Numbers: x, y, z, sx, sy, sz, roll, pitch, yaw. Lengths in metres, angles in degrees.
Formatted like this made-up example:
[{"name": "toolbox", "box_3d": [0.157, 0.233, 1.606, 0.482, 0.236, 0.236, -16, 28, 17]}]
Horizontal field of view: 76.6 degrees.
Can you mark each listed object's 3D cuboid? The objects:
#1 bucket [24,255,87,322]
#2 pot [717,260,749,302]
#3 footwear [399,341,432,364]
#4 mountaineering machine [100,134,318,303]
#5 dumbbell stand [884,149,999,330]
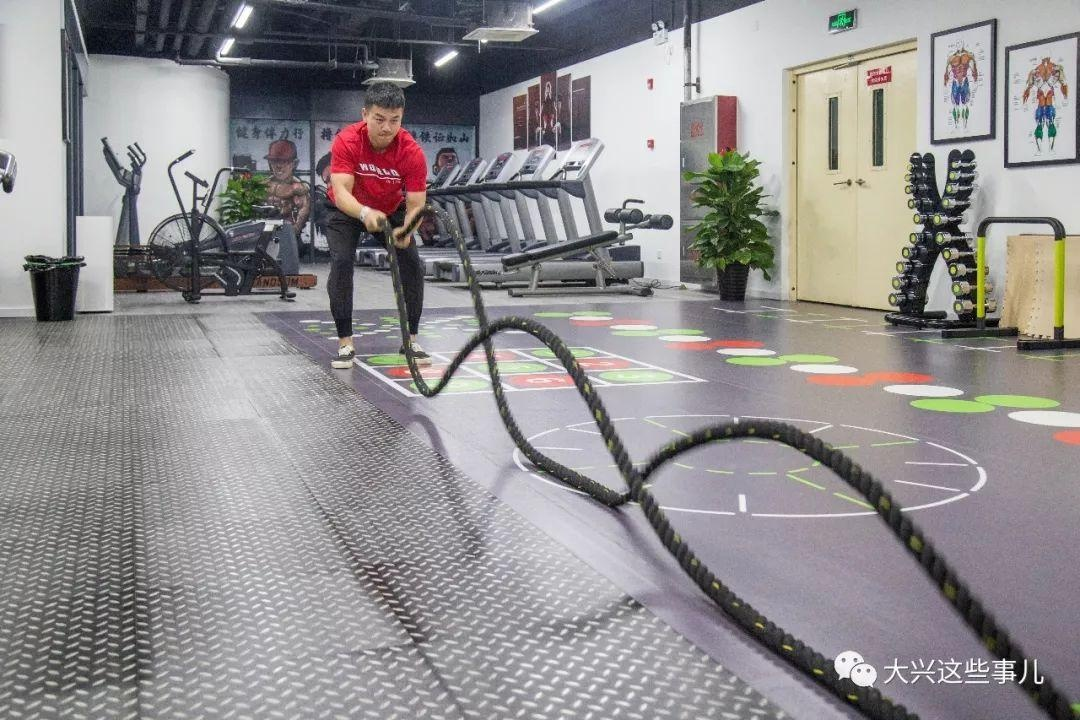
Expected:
[{"name": "bucket", "box_3d": [-4.800, -0.701, 6.867, 0.639, 0.659, 0.639, -1, 3, 0]}, {"name": "pot", "box_3d": [2.360, -0.962, 8.374, 0.442, 0.428, 0.460, 0, 0, 0]}, {"name": "footwear", "box_3d": [-0.762, -0.053, 4.338, 0.329, 0.134, 0.120, 7, 7, 43]}, {"name": "mountaineering machine", "box_3d": [-4.903, -2.038, 9.658, 2.034, 2.103, 4.786, -7, 12, -31]}, {"name": "dumbbell stand", "box_3d": [3.578, -1.105, 6.142, 0.662, 1.768, 0.772, -3, 7, -15]}]
